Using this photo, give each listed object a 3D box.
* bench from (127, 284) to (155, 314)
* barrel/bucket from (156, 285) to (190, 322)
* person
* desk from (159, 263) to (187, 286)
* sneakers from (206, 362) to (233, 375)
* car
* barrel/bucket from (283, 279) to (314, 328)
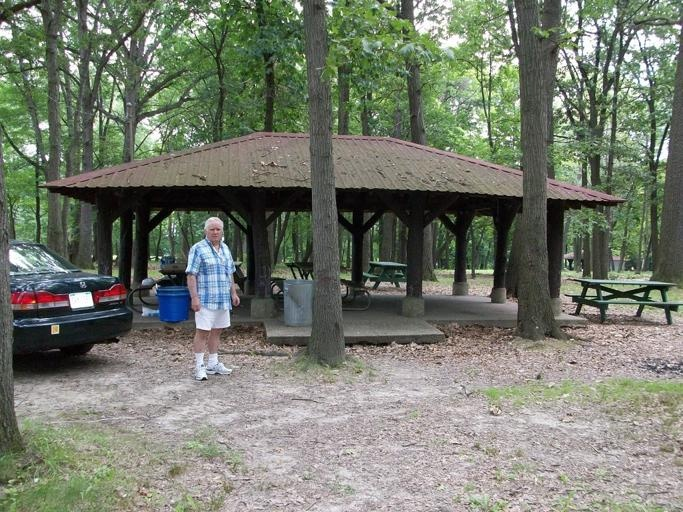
[{"bbox_3d":[-5.152,1.133,15.928,0.841,0.858,1.049,3,-5,-18],"label":"bench"},{"bbox_3d":[-3.670,1.073,13.660,0.761,0.715,0.778,-2,-6,0],"label":"barrel/bucket"},{"bbox_3d":[-2.073,0.672,9.903,0.760,2.547,0.455,-2,9,-27],"label":"person"},{"bbox_3d":[-4.379,0.496,16.111,0.722,0.697,1.094,-1,0,-4],"label":"desk"},{"bbox_3d":[-1.981,1.841,10.182,0.431,0.186,0.172,1,0,-3],"label":"sneakers"},{"bbox_3d":[-4.277,0.708,9.736,2.415,0.946,1.384,2,3,41],"label":"car"},{"bbox_3d":[-0.919,1.002,13.168,0.647,0.979,0.322,3,8,5],"label":"barrel/bucket"}]
